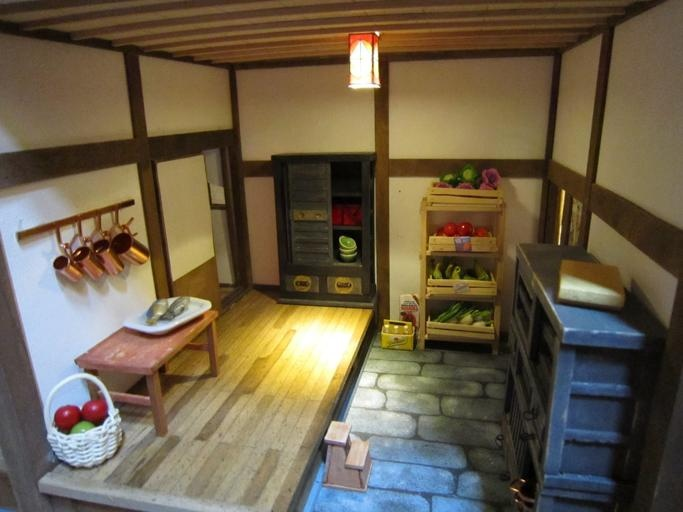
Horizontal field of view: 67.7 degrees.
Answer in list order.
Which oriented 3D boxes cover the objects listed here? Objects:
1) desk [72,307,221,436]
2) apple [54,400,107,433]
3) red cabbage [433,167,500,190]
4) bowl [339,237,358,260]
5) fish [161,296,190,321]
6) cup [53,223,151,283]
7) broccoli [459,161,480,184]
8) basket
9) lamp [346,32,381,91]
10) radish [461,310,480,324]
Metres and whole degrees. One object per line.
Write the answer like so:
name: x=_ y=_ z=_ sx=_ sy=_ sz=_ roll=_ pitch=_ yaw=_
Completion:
desk: x=-1.556 y=0.926 z=4.323 sx=0.688 sy=0.636 sz=1.022 roll=2 pitch=20 yaw=14
apple: x=-1.884 y=1.160 z=3.730 sx=0.350 sy=0.208 sz=0.160 roll=2 pitch=36 yaw=-10
red cabbage: x=1.426 y=-0.846 z=5.553 sx=0.405 sy=0.191 sz=0.415 roll=-4 pitch=16 yaw=16
bowl: x=0.061 y=-0.075 z=5.739 sx=0.189 sy=0.245 sz=0.257 roll=-4 pitch=8 yaw=-9
fish: x=-1.392 y=0.446 z=4.277 sx=0.144 sy=0.092 sz=0.226 roll=-6 pitch=6 yaw=-13
cup: x=-1.930 y=0.006 z=4.043 sx=0.307 sy=0.262 sz=0.491 roll=-4 pitch=29 yaw=22
broccoli: x=1.435 y=-0.887 z=5.657 sx=0.220 sy=0.250 sz=0.118 roll=-8 pitch=-14 yaw=28
basket: x=-1.889 y=1.221 z=3.690 sx=0.461 sy=0.649 sz=0.477 roll=-10 pitch=21 yaw=-23
lamp: x=0.182 y=-1.642 z=4.225 sx=0.244 sy=0.446 sz=0.267 roll=1 pitch=18 yaw=0
radish: x=1.464 y=0.700 z=5.805 sx=0.199 sy=0.094 sz=0.084 roll=-12 pitch=-5 yaw=-37
